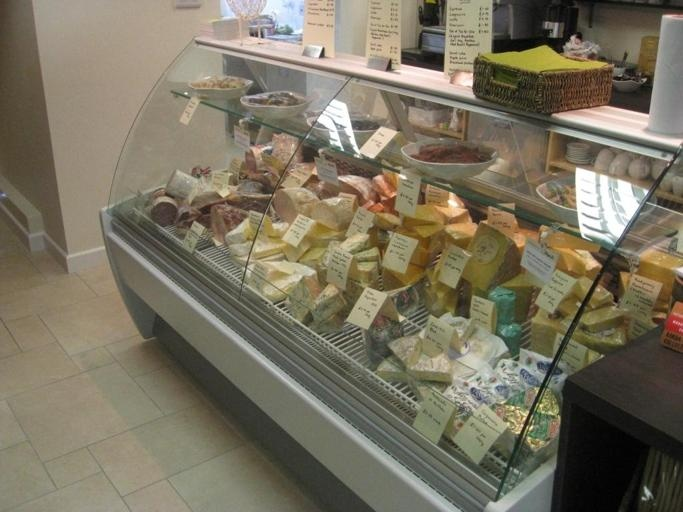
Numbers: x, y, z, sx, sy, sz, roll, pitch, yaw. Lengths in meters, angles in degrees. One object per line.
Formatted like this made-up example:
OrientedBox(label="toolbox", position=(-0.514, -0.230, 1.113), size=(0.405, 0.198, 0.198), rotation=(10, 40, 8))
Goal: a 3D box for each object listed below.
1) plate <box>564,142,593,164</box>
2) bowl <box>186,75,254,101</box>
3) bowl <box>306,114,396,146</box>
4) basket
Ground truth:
OrientedBox(label="plate", position=(0.601, -0.259, 1.252), size=(0.054, 0.031, 0.059), rotation=(-3, 26, 1))
OrientedBox(label="bowl", position=(-0.501, -0.715, 2.091), size=(0.175, 0.042, 0.159), rotation=(2, 27, 3))
OrientedBox(label="bowl", position=(0.019, -0.434, 1.657), size=(0.189, 0.034, 0.135), rotation=(23, 37, 36))
OrientedBox(label="basket", position=(0.513, -0.495, 1.376), size=(0.249, 0.123, 0.251), rotation=(-16, 29, -32))
